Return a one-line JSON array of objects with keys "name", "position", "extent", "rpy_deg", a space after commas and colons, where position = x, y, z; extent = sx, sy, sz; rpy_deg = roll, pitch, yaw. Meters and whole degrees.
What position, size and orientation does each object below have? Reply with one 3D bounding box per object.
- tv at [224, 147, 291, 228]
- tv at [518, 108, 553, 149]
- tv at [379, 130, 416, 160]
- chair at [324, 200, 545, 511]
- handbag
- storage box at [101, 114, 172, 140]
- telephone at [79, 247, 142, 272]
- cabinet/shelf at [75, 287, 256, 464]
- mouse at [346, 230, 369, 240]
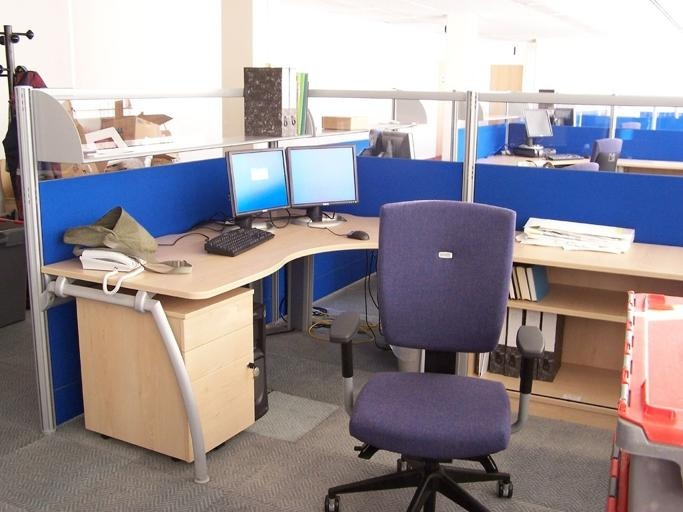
[{"name": "tv", "position": [-0.509, -0.411, 3.317], "extent": [0.047, 0.380, 0.460], "rpy_deg": [6, 21, 44]}, {"name": "tv", "position": [2.492, -1.617, 6.936], "extent": [0.263, 0.447, 0.667], "rpy_deg": [14, 23, 40]}, {"name": "tv", "position": [0.388, -0.775, 3.864], "extent": [0.259, 0.258, 0.135], "rpy_deg": [9, 17, 41]}, {"name": "chair", "position": [0.329, 0.485, 2.152], "extent": [0.842, 1.303, 0.643], "rpy_deg": [-2, 17, -2]}, {"name": "handbag", "position": [-1.148, -0.110, 2.703], "extent": [0.334, 0.149, 0.300], "rpy_deg": [12, 16, 3]}, {"name": "storage box", "position": [-1.318, -0.840, 3.615], "extent": [0.254, 0.120, 0.363], "rpy_deg": [6, 9, 30]}, {"name": "telephone", "position": [-1.125, 0.026, 2.600], "extent": [0.159, 0.052, 0.159], "rpy_deg": [1, 14, 0]}, {"name": "cabinet/shelf", "position": [-0.815, 0.512, 3.032], "extent": [0.926, 0.996, 0.715], "rpy_deg": [4, 12, 20]}, {"name": "mouse", "position": [0.104, -0.115, 3.170], "extent": [0.100, 0.033, 0.061], "rpy_deg": [7, 16, 27]}]
